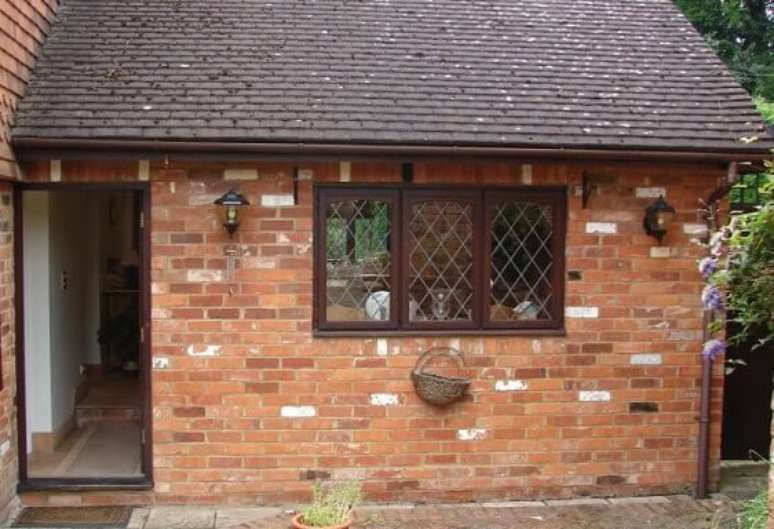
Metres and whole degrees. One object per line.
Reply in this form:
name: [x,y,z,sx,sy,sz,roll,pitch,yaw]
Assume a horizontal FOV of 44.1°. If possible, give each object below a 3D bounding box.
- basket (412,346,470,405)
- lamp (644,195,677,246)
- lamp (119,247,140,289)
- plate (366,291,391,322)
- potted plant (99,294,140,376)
basket: [0.421,1.275,11.200,0.851,0.688,0.695,6,-12,-3]
lamp: [3.156,-0.514,11.153,0.306,0.557,0.222,-1,2,-5]
lamp: [-3.628,0.060,13.442,0.235,0.540,0.320,-1,2,-18]
plate: [-0.121,0.468,11.048,0.281,0.344,0.048,-1,2,-12]
potted plant: [-3.690,0.935,13.115,0.529,1.064,0.597,-1,2,-15]
